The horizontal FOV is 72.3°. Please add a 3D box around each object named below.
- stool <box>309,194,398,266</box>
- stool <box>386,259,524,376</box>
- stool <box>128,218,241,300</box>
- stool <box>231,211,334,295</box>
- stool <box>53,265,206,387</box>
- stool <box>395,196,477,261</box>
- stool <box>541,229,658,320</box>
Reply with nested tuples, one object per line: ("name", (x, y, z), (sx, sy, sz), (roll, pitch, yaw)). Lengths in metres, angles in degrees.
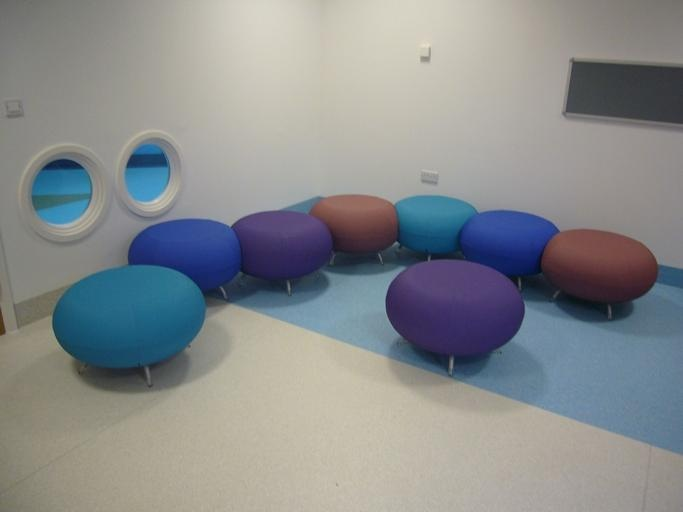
("stool", (0.144, -0.219, 4.638), (0.724, 0.476, 0.762), (-5, 1, 12))
("stool", (0.772, 0.457, 3.355), (0.870, 0.490, 0.914), (-7, 24, -16))
("stool", (-1.170, 0.084, 3.933), (0.564, 0.414, 0.574), (-13, 15, -30))
("stool", (-0.559, -0.040, 4.313), (0.918, 0.691, 0.945), (4, 8, 14))
("stool", (-1.311, 0.374, 3.091), (0.783, 0.408, 0.792), (31, 50, 17))
("stool", (0.932, -0.309, 4.679), (0.763, 0.470, 0.780), (-3, 12, -22))
("stool", (2.091, -0.031, 3.714), (0.706, 0.471, 0.720), (20, 32, 37))
